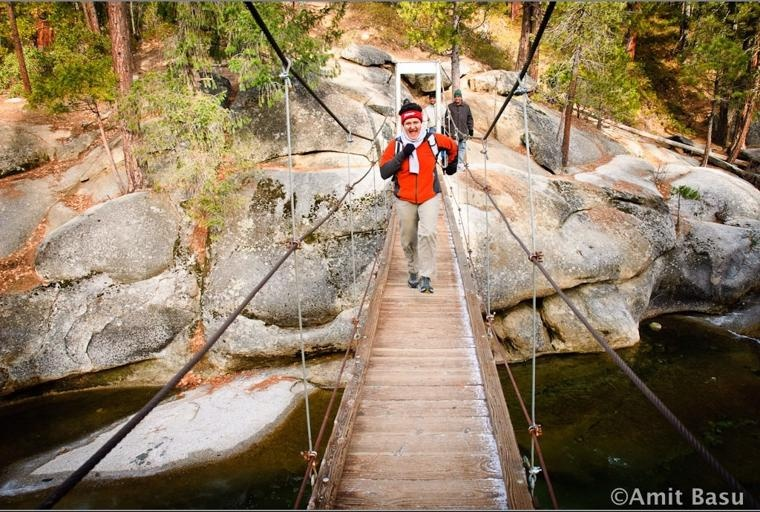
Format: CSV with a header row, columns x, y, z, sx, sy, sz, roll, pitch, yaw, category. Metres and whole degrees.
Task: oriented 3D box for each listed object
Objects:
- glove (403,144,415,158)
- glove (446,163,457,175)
x,y,z,sx,sy,sz,roll,pitch,yaw,category
0.398,-1.492,7.360,0.190,0.179,0.095,-21,39,-34,glove
1.053,-1.306,7.633,0.090,0.196,0.201,-7,59,-4,glove
